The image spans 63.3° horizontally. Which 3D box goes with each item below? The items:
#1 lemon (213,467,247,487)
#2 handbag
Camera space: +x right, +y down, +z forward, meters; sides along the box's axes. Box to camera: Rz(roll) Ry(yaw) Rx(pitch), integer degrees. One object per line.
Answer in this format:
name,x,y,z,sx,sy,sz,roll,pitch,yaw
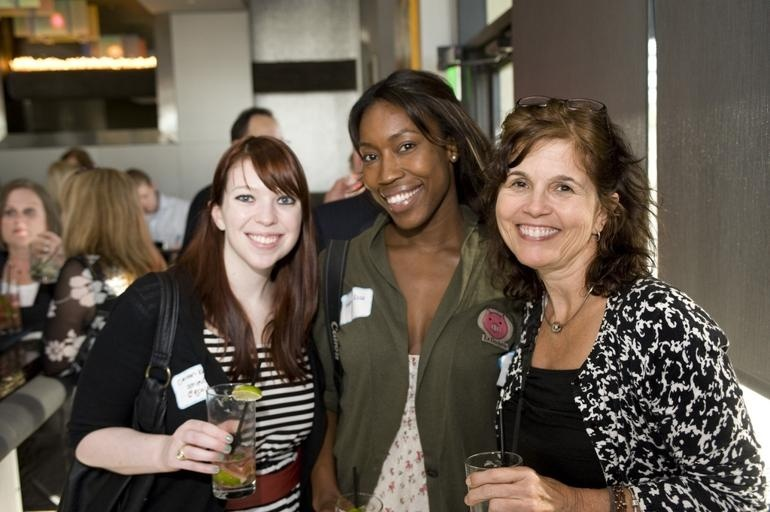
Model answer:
lemon,-0.541,0.773,2.183,0.072,0.053,0.073,1,2,-11
handbag,-0.975,0.516,2.332,0.479,0.844,0.241,-6,9,-30
